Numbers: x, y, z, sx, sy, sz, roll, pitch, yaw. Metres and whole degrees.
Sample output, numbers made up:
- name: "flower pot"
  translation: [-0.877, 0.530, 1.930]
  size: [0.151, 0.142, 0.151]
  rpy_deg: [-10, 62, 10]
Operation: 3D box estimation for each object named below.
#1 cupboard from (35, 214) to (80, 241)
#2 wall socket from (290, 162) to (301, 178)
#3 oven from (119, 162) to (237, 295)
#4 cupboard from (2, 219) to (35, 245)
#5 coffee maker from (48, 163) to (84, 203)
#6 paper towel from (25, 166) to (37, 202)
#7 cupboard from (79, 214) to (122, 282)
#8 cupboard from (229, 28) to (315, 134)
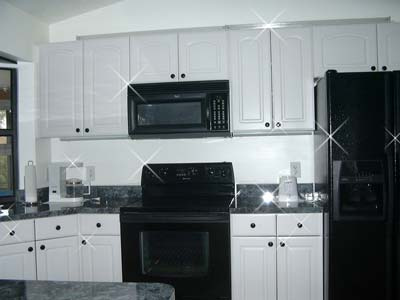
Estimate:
- name: "cupboard"
  translation: [-1.342, 0.704, 3.355]
  size: [0.278, 0.249, 0.452]
  rpy_deg: [-23, -20, 35]
- name: "wall socket"
  translation: [0.915, 0.188, 3.567]
  size: [0.122, 0.140, 0.079]
  rpy_deg: [1, -2, -9]
- name: "oven"
  translation: [-0.192, 0.675, 3.377]
  size: [1.014, 1.113, 0.453]
  rpy_deg: [0, -2, 5]
- name: "cupboard"
  translation: [-1.536, 0.674, 3.166]
  size: [0.194, 0.175, 0.239]
  rpy_deg: [-1, 5, -32]
- name: "coffee maker"
  translation: [-1.338, 0.327, 3.733]
  size: [0.344, 0.385, 0.193]
  rpy_deg: [0, -2, -6]
- name: "paper towel"
  translation: [-1.666, 0.320, 3.643]
  size: [0.130, 0.397, 0.093]
  rpy_deg: [-8, -38, -20]
- name: "cupboard"
  translation: [-0.864, 0.866, 3.478]
  size: [0.376, 0.577, 0.401]
  rpy_deg: [0, 3, 5]
- name: "cupboard"
  translation: [0.674, -0.665, 3.632]
  size: [0.799, 0.950, 0.503]
  rpy_deg: [-2, 5, 3]
